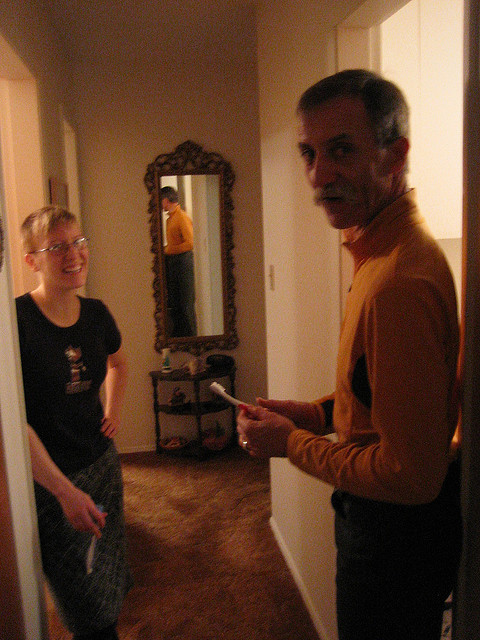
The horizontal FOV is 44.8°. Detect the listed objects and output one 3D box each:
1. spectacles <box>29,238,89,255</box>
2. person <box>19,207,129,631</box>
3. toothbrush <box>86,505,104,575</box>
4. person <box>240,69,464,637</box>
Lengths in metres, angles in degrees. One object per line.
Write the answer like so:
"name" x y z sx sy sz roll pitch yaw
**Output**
"spectacles" -0.376 -0.159 1.264 0.138 0.034 0.094 -8 9 -40
"person" -0.347 0.210 1.286 0.195 0.907 0.427 -5 7 -10
"toothbrush" -0.304 0.474 1.223 0.025 0.116 0.016 7 6 9
"person" 0.158 0.066 0.864 0.254 0.837 0.389 -7 8 -23
